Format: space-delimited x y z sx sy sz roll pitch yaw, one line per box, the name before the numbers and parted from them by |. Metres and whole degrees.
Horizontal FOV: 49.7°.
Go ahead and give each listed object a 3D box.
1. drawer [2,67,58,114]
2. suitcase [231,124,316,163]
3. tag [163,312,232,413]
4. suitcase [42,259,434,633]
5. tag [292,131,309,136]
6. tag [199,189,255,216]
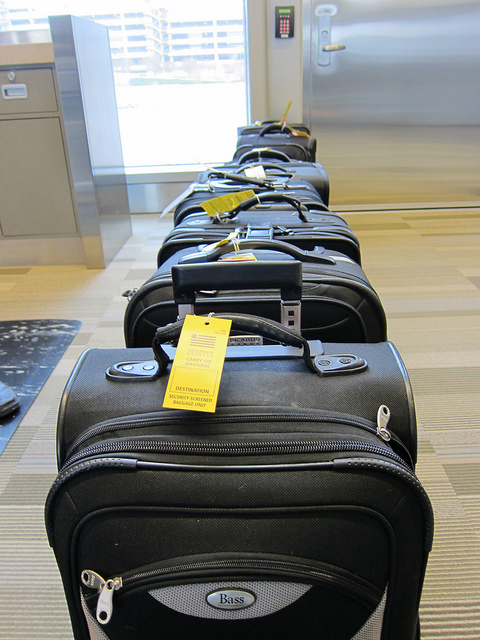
drawer | -0.991 -1.085 2.455 0.214 0.193 0.125 2 19 6
suitcase | 0.148 -0.750 2.180 0.324 0.156 0.490 0 26 7
tag | -0.040 0.039 0.503 0.057 0.025 0.097 4 62 5
suitcase | -0.007 0.137 0.563 0.388 0.296 0.297 0 27 6
tag | 0.260 -0.815 2.245 0.057 0.019 0.041 -10 19 -35
tag | -0.029 -0.237 0.987 0.055 0.024 0.082 -2 23 20
